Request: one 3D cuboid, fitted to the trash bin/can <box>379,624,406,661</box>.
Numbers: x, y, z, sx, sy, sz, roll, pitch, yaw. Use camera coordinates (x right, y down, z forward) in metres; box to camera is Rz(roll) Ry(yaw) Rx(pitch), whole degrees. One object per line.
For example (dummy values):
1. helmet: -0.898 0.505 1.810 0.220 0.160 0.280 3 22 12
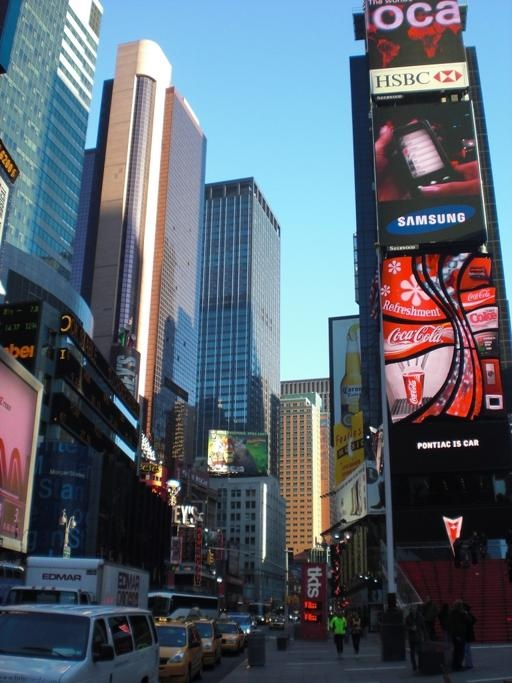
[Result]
1. trash bin/can: 4.567 10.095 21.360 0.799 1.187 1.093 -6 -21 8
